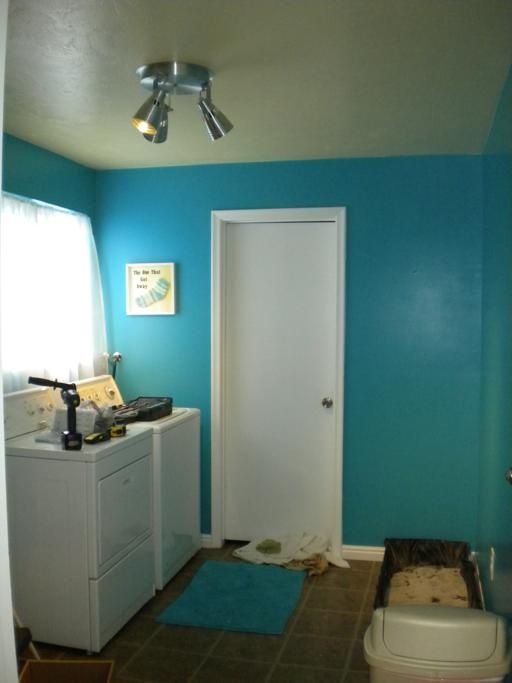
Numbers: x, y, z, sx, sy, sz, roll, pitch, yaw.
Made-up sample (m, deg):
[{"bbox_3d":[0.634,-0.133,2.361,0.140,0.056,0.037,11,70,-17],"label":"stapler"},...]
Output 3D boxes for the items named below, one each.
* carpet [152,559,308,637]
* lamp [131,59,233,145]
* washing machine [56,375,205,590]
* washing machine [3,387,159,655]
[{"bbox_3d":[-0.092,1.260,2.792,0.592,0.018,0.677,1,3,13],"label":"carpet"},{"bbox_3d":[-0.285,-0.845,2.021,0.262,0.174,0.264,-1,7,-1],"label":"lamp"},{"bbox_3d":[-0.735,0.718,3.657,0.852,1.625,1.173,-1,3,10],"label":"washing machine"},{"bbox_3d":[-0.841,0.758,2.555,0.594,1.021,0.608,1,3,11],"label":"washing machine"}]
